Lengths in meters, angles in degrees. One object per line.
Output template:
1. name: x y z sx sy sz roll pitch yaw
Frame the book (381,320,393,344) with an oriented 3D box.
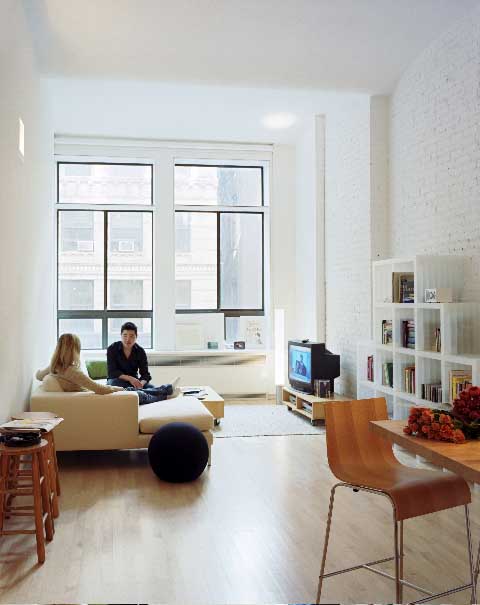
1. book: 1.491 0.294 4.733 0.117 0.207 0.050 -2 -4 41

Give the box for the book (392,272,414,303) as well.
1. book: 1.563 -0.138 4.444 0.218 0.285 0.132 0 -2 -4

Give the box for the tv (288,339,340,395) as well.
1. tv: 0.934 0.848 6.240 0.415 0.657 0.641 0 1 -22

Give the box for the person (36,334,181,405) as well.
1. person: -1.218 0.610 4.233 1.007 0.746 0.678 3 -7 -21

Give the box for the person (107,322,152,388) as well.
1. person: -1.260 0.648 5.343 0.407 0.840 0.560 2 8 -11
